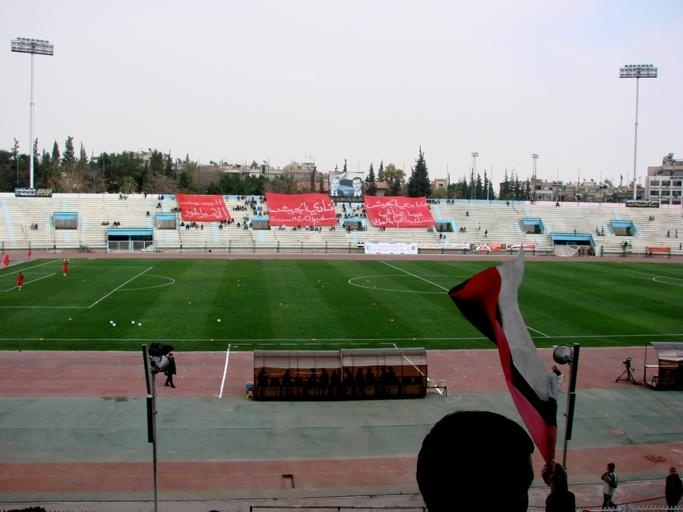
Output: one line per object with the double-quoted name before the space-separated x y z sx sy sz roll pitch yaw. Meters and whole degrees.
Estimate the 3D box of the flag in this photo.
"flag" 5.038 3.084 26.369 2.923 6.656 1.373 3 6 11

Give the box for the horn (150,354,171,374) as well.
"horn" -6.088 3.618 29.595 0.540 0.575 0.683 3 -3 -14
